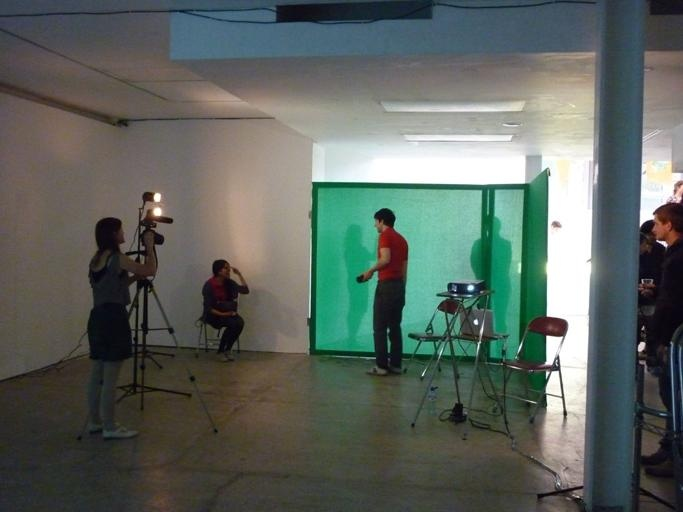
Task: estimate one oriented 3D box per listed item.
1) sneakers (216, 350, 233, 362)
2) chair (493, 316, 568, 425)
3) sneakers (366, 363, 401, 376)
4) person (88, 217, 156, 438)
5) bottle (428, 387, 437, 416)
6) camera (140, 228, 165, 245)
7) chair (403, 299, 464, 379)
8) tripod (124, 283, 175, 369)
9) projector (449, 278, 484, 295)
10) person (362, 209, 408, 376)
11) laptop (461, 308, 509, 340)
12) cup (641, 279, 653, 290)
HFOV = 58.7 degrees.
[{"bbox_3d":[-1.679,1.457,8.806,0.208,0.090,0.119,-3,-1,45],"label":"sneakers"},{"bbox_3d":[2.146,1.222,6.816,0.735,1.094,0.753,3,0,-6],"label":"chair"},{"bbox_3d":[0.595,1.552,8.223,0.397,0.165,0.167,3,0,0],"label":"sneakers"},{"bbox_3d":[-2.162,0.711,5.944,0.656,2.146,0.402,-3,8,-26],"label":"person"},{"bbox_3d":[1.058,1.669,7.021,0.086,0.275,0.119,0,-8,-30],"label":"bottle"},{"bbox_3d":[-1.985,-0.198,6.425,0.258,0.122,0.188,8,5,-17],"label":"camera"},{"bbox_3d":[1.272,1.096,8.366,0.665,1.070,0.608,4,-1,-15],"label":"chair"},{"bbox_3d":[-2.324,0.613,7.362,0.610,1.379,0.565,1,7,-17],"label":"tripod"},{"bbox_3d":[1.292,0.333,6.385,0.253,0.085,0.189,1,5,25],"label":"projector"},{"bbox_3d":[0.591,0.485,8.175,0.496,2.211,0.728,2,8,15],"label":"person"},{"bbox_3d":[1.498,0.756,6.817,0.472,0.356,0.365,1,5,43],"label":"laptop"},{"bbox_3d":[3.029,0.278,6.025,0.082,0.080,0.108,0,-8,6],"label":"cup"}]
